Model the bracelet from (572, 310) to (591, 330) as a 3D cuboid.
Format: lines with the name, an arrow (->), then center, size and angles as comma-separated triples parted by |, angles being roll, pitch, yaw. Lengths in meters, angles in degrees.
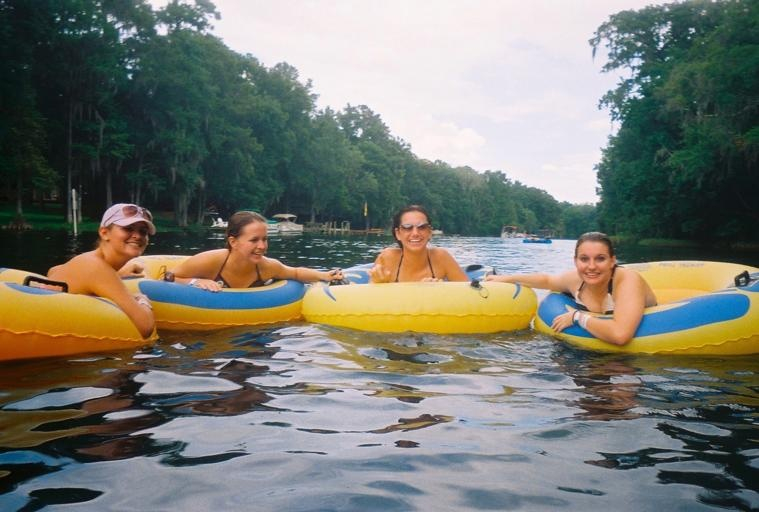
bracelet -> 1.964, 0.634, 6.001 | 0.209, 0.134, 0.081 | 1, -9, 24

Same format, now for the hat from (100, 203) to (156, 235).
hat -> -2.306, -0.352, 5.562 | 0.527, 0.159, 0.324 | -2, -4, 28

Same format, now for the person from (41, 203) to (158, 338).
person -> -2.554, 0.161, 5.629 | 0.879, 1.256, 0.477 | 0, 5, -16

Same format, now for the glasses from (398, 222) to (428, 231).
glasses -> 0.371, -0.325, 6.949 | 0.387, 0.104, 0.136 | 1, 3, 11

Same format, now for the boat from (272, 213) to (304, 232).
boat -> -6.145, -2.273, 41.360 | 2.286, 0.709, 2.501 | 0, 0, -7

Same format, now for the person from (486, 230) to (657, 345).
person -> 2.135, 0.300, 6.279 | 0.660, 1.067, 1.289 | 0, 4, -24

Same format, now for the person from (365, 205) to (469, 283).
person -> 0.419, -0.035, 7.239 | 1.560, 0.668, 0.670 | 3, -6, -12

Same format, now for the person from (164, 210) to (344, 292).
person -> -1.595, 0.073, 6.892 | 0.888, 0.844, 2.840 | -7, -4, 38
